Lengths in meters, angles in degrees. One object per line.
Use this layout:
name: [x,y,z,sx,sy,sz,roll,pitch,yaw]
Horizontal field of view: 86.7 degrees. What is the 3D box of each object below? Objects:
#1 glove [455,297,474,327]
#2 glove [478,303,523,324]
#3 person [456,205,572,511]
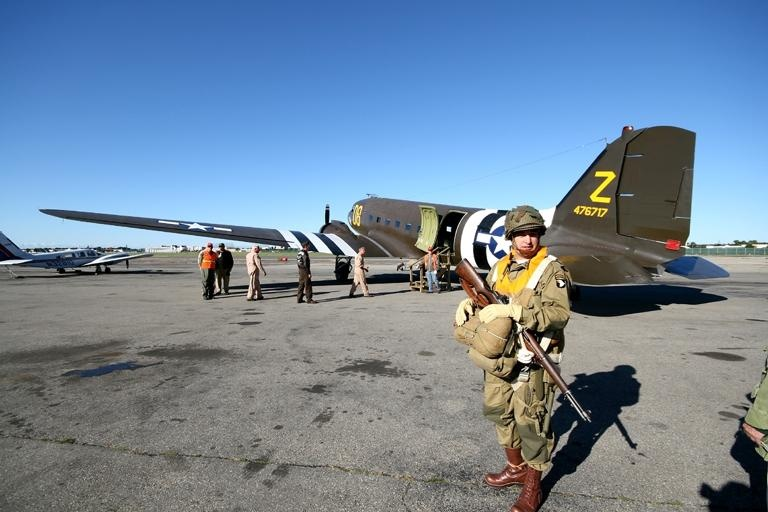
glove: [0.855,0.566,4.226,0.174,0.078,0.301,-38,5,43]
glove: [1.094,0.531,3.833,0.328,0.095,0.169,-3,39,-10]
person: [1.297,0.936,4.084,1.095,2.891,0.810,-1,5,-5]
